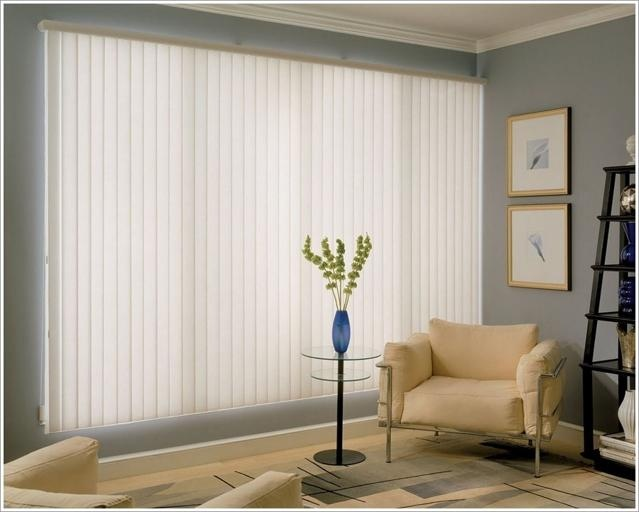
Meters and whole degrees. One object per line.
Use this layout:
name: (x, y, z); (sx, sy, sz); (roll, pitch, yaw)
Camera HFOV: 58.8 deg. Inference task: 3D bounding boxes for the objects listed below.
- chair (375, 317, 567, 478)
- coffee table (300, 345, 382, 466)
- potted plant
chair: (1.094, 0.941, 4.058); (1.324, 1.035, 1.021); (-1, -6, 25)
coffee table: (0.153, 1.100, 4.255); (0.760, 0.901, 0.753); (0, -5, 0)
potted plant: (0.127, 0.292, 4.311); (0.536, 0.885, 0.746); (0, 3, 4)
